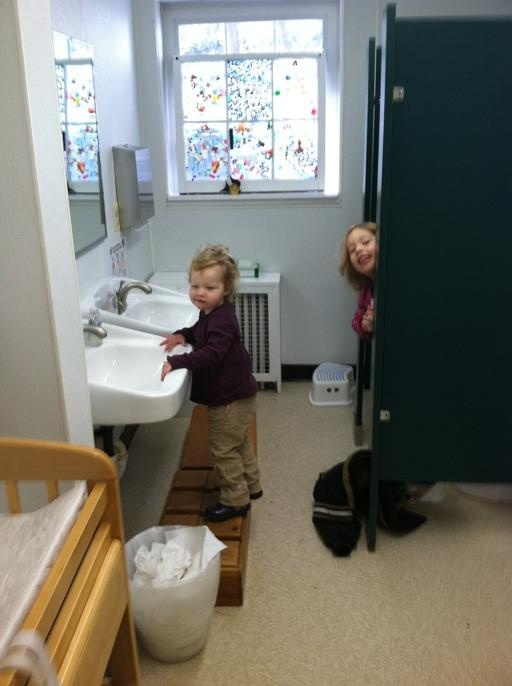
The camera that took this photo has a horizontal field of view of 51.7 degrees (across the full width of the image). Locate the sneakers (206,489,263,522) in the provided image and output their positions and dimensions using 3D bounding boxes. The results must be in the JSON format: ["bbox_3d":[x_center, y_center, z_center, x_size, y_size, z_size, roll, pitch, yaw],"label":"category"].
[{"bbox_3d":[-0.074,0.567,1.908,0.193,0.098,0.068,-1,15,-36],"label":"sneakers"}]

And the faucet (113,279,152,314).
[{"bbox_3d":[-0.534,-0.194,2.283,0.127,0.203,0.071,21,24,6],"label":"faucet"}]

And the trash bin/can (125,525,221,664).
[{"bbox_3d":[-0.223,0.696,1.492,0.254,0.353,0.319,-10,20,-19],"label":"trash bin/can"}]

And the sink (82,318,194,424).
[{"bbox_3d":[-0.379,0.104,1.636,0.226,0.168,0.397,4,28,-11],"label":"sink"}]

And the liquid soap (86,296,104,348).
[{"bbox_3d":[-0.519,-0.056,1.749,0.069,0.107,0.242,-2,20,-11],"label":"liquid soap"}]

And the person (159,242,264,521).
[{"bbox_3d":[-0.156,0.224,1.857,0.286,1.074,0.518,3,19,17],"label":"person"}]
